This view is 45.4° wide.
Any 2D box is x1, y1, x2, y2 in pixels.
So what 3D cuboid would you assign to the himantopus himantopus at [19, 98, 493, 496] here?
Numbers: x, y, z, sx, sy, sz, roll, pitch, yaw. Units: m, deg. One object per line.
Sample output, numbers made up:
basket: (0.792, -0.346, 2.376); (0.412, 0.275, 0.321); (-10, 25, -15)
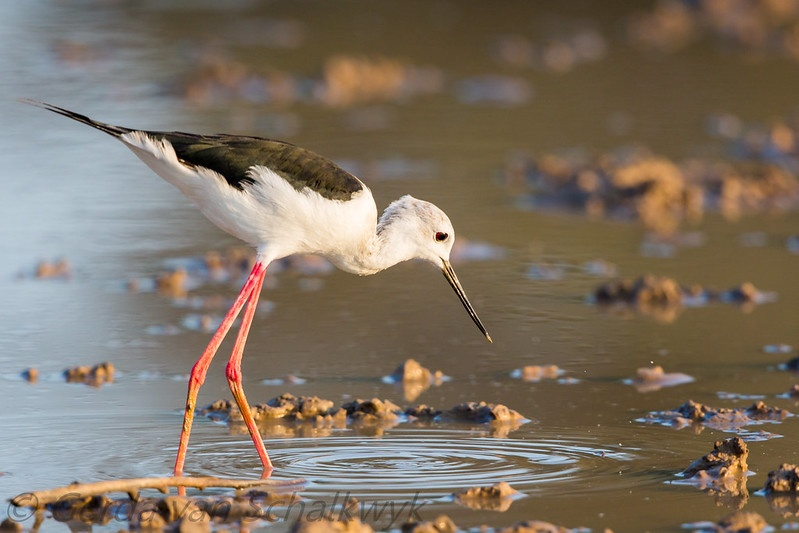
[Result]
himantopus himantopus: (-0.837, 0.210, 7.251); (2.427, 2.401, 0.754); (3, -3, -25)
